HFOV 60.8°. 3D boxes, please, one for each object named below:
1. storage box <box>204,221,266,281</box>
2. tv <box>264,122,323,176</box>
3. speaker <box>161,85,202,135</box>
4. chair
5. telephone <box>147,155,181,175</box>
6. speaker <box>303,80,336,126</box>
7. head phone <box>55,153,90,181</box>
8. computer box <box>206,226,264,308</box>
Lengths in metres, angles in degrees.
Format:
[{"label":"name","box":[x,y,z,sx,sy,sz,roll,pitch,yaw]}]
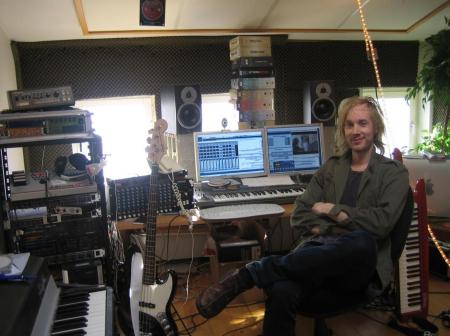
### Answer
[{"label":"storage box","box":[0.087,0.805,3.707,0.477,0.452,0.373,-1,18,-22]},{"label":"tv","box":[0.678,-0.179,3.880,0.495,0.432,0.056,-4,-1,-6]},{"label":"speaker","box":[-0.487,-0.676,4.298,0.323,0.532,0.476,-8,15,-30]},{"label":"chair","box":[0.922,0.684,2.906,0.778,1.075,0.378,5,2,-21]},{"label":"telephone","box":[-0.497,-0.015,3.276,0.215,0.079,0.174,4,-5,-24]},{"label":"speaker","box":[1.255,-0.865,4.853,0.393,0.568,0.390,-7,25,-1]},{"label":"head phone","box":[-1.328,-0.015,3.360,0.242,0.175,0.306,-17,22,-17]},{"label":"computer box","box":[0.130,0.860,3.728,0.568,0.634,0.617,-10,-11,32]}]
